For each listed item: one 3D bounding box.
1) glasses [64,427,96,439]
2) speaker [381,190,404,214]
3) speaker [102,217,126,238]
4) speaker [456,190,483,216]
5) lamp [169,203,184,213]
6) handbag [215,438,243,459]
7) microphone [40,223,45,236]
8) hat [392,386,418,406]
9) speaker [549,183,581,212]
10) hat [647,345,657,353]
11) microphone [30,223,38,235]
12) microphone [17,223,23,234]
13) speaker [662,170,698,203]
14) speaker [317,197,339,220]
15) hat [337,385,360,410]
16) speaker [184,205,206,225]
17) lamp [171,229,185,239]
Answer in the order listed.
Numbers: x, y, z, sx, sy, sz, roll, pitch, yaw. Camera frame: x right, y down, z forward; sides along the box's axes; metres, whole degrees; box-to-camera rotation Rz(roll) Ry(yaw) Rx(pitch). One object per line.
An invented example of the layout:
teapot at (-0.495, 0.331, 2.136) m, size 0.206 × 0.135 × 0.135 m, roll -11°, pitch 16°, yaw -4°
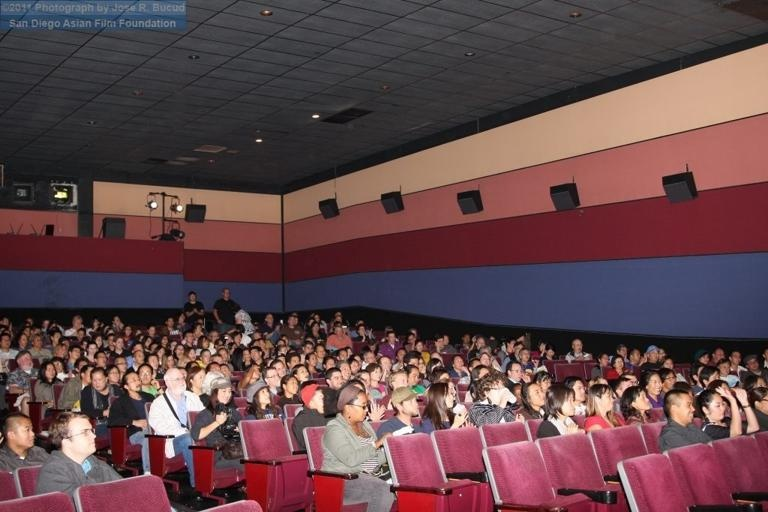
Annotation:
glasses at (-2.186, 1.276, 4.009) m, size 0.098 × 0.056 × 0.193 m, roll -13°, pitch -14°, yaw 32°
speaker at (0.245, -1.673, 16.953) m, size 0.595 × 0.602 × 0.390 m, roll -13°, pitch -13°, yaw 33°
speaker at (-8.614, -0.886, 17.636) m, size 0.762 × 0.584 × 0.397 m, roll 2°, pitch 4°, yaw 4°
speaker at (2.401, -1.485, 15.328) m, size 0.686 × 0.625 × 0.336 m, roll -6°, pitch 27°, yaw 20°
lamp at (-7.166, -1.652, 19.188) m, size 0.515 × 0.188 × 0.352 m, roll 4°, pitch 4°, yaw -24°
handbag at (-1.678, 2.099, 6.102) m, size 0.270 × 0.193 × 0.092 m, roll 0°, pitch 9°, yaw 11°
microphone at (-11.011, -0.874, 17.857) m, size 0.246 × 0.343 × 0.145 m, roll -15°, pitch -14°, yaw 39°
hat at (0.191, 1.445, 5.621) m, size 0.242 × 0.119 × 0.169 m, roll -23°, pitch -11°, yaw 16°
speaker at (4.438, -1.433, 13.469) m, size 0.405 × 0.559 × 0.586 m, roll -25°, pitch 4°, yaw -40°
hat at (5.674, 1.961, 11.650) m, size 0.244 × 0.075 × 0.177 m, roll -10°, pitch 1°, yaw 18°
microphone at (-11.208, -0.866, 17.773) m, size 0.272 × 0.345 × 0.203 m, roll 0°, pitch -13°, yaw -28°
microphone at (-11.603, -0.872, 17.643) m, size 0.098 × 0.276 × 0.168 m, roll -12°, pitch -13°, yaw 28°
speaker at (6.296, -1.401, 11.759) m, size 0.664 × 0.680 × 0.418 m, roll -7°, pitch 33°, yaw 42°
speaker at (-1.839, -1.623, 18.552) m, size 0.669 × 0.601 × 0.365 m, roll -14°, pitch -13°, yaw 34°
hat at (-0.349, 1.339, 5.242) m, size 0.185 × 0.120 × 0.238 m, roll 7°, pitch -33°, yaw -46°
speaker at (-6.488, -1.508, 18.966) m, size 0.589 × 0.697 × 0.580 m, roll 0°, pitch -13°, yaw -26°
lamp at (-6.918, -0.733, 18.522) m, size 0.423 × 0.384 × 0.386 m, roll -2°, pitch -12°, yaw -21°
